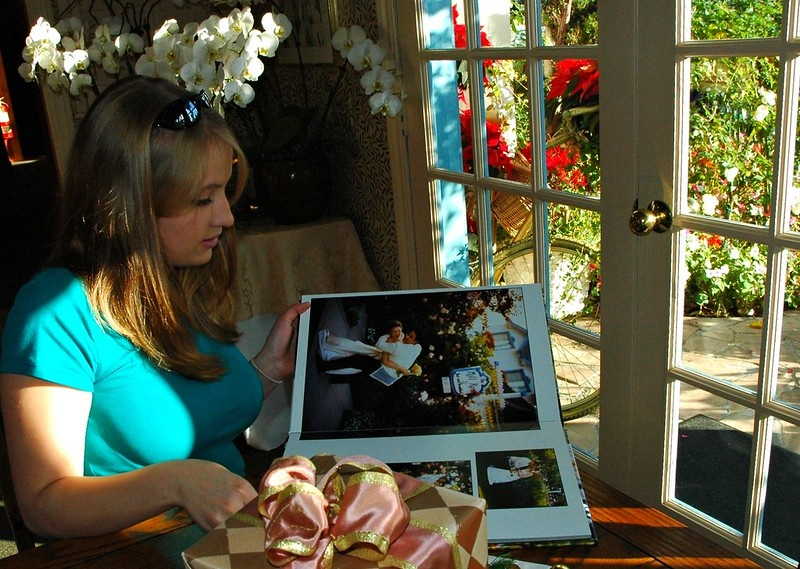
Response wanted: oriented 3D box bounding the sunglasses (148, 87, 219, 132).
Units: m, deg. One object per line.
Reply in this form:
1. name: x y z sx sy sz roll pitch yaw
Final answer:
1. sunglasses: -0.420 -0.310 1.217 0.081 0.027 0.083 -20 17 28

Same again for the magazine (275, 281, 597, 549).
1. magazine: 0.055 0.225 1.173 0.548 0.624 0.070 15 33 13

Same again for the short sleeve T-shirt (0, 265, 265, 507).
1. short sleeve T-shirt: -0.497 0.186 1.189 0.263 0.469 0.495 -6 -4 26

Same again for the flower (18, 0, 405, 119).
1. flower: -0.560 -0.714 2.023 0.729 0.251 0.692 -8 18 -12

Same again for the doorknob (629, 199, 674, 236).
1. doorknob: 0.594 -0.155 1.521 0.066 0.091 0.090 -2 3 41
